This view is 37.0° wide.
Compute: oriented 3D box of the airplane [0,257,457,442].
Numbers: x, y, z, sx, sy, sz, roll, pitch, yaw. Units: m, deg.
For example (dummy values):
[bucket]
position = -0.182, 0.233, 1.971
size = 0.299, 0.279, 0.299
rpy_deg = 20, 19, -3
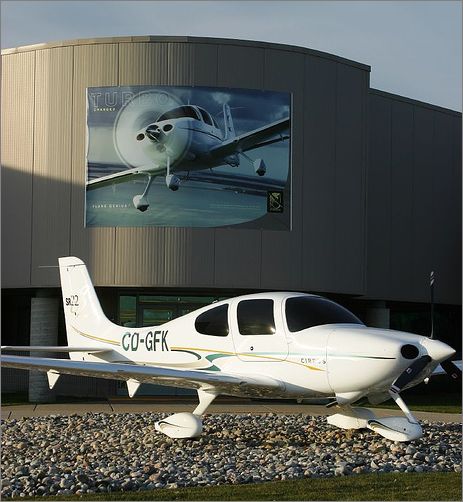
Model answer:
[airplane]
position = 0.089, 1.180, 8.000
size = 3.653, 0.953, 3.115
rpy_deg = 7, -10, -42
